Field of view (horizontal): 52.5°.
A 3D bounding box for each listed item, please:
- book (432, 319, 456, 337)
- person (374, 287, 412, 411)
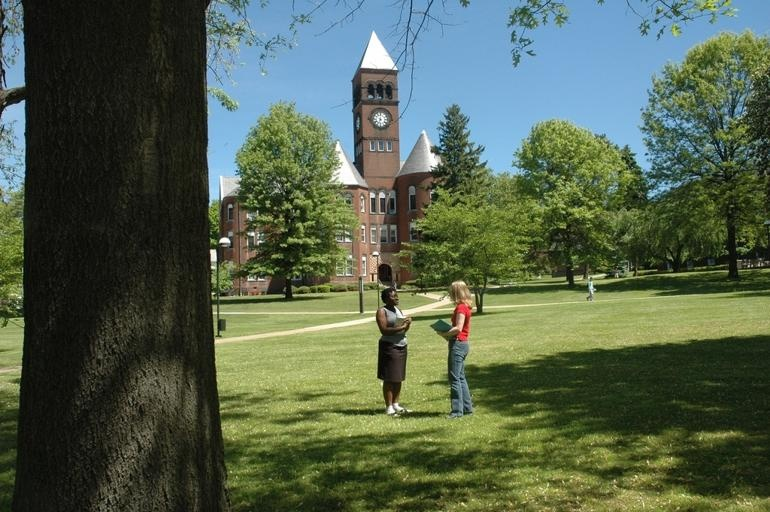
[{"bbox_3d":[0.954,1.075,12.375,0.309,0.089,0.325,40,-38,-16],"label":"book"},{"bbox_3d":[0.147,1.533,13.268,0.562,2.140,1.499,-3,5,1],"label":"person"}]
